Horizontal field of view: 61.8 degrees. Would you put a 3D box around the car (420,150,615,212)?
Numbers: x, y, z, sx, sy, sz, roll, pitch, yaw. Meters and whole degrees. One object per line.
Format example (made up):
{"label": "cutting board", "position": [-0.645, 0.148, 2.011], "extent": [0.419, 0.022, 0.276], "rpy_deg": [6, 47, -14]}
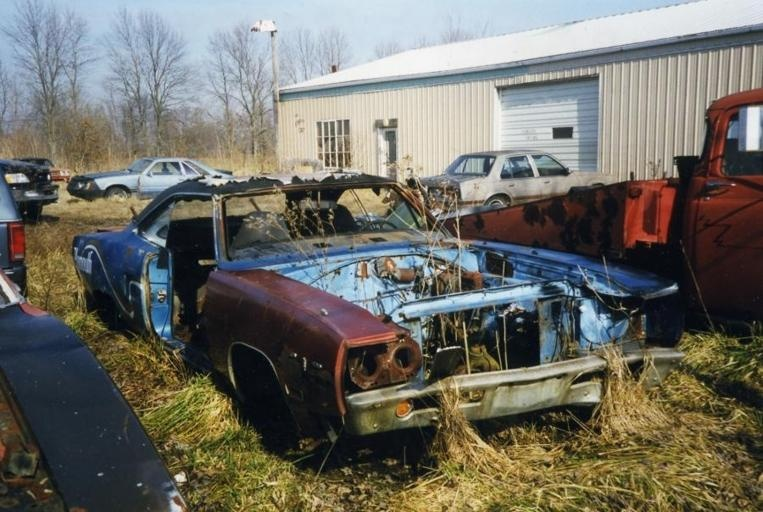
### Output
{"label": "car", "position": [2.182, -1.450, 11.847], "extent": [3.074, 1.035, 1.715], "rpy_deg": [-14, 18, -22]}
